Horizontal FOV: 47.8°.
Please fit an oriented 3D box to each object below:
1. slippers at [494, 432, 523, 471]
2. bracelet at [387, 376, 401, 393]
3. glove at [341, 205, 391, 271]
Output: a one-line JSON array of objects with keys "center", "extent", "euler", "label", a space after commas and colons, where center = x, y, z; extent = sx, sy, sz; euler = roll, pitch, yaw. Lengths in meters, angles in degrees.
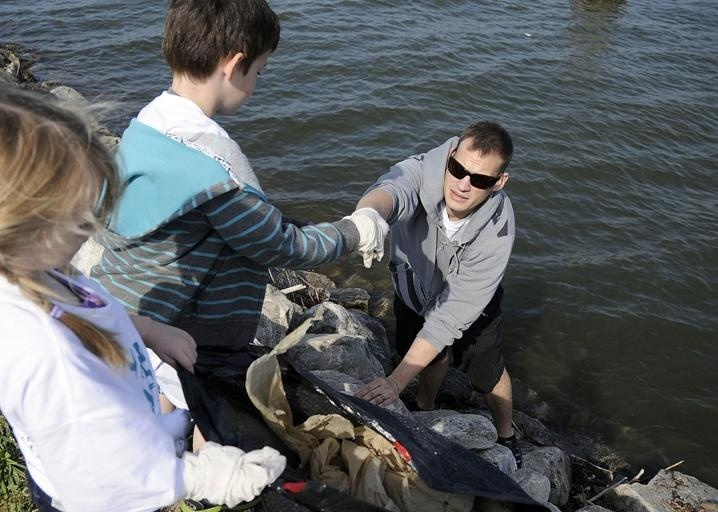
[{"center": [1.609, 2.067, 8.606], "extent": [0.148, 0.169, 0.397], "euler": [-6, 37, -3], "label": "slippers"}, {"center": [0.323, 1.176, 7.440], "extent": [0.111, 0.138, 0.301], "euler": [4, 35, 2], "label": "bracelet"}, {"center": [0.026, -0.128, 6.881], "extent": [0.254, 0.506, 0.381], "euler": [-19, 33, 40], "label": "glove"}]
